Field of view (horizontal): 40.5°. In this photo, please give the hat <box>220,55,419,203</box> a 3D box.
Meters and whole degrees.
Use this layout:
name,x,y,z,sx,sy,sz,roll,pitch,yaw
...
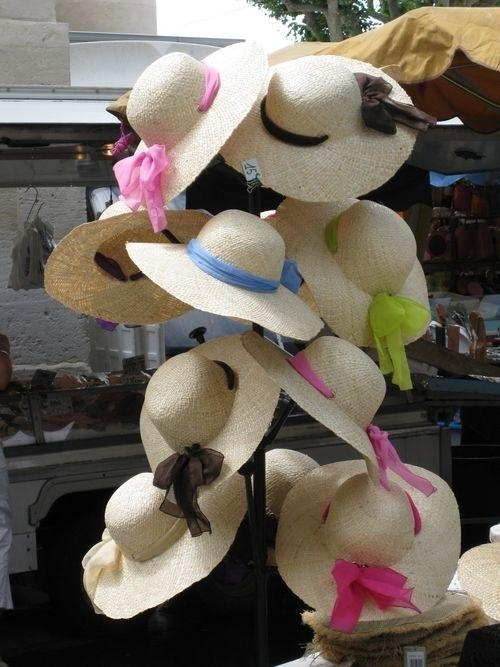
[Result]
name,x,y,z,sx,sy,sz,roll,pitch,yaw
hat,0.173,-0.461,1.622,0.471,0.371,0.137,-7,-19,-3

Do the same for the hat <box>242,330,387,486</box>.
name,x,y,z,sx,sy,sz,roll,pitch,yaw
hat,0.143,0.203,1.631,0.360,0.151,0.343,37,14,-24

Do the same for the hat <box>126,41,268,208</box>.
name,x,y,z,sx,sy,sz,roll,pitch,yaw
hat,-0.123,-0.520,1.632,0.274,0.396,0.318,-5,12,-26

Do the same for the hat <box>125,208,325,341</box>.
name,x,y,z,sx,sy,sz,roll,pitch,yaw
hat,-0.052,-0.142,1.572,0.462,0.288,0.323,-1,10,-9

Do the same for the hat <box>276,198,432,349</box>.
name,x,y,z,sx,sy,sz,roll,pitch,yaw
hat,0.182,-0.184,1.823,0.400,0.418,0.164,-10,-27,-40

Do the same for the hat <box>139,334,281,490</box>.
name,x,y,z,sx,sy,sz,roll,pitch,yaw
hat,-0.014,0.191,1.688,0.395,0.336,0.139,6,-18,39

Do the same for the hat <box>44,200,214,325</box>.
name,x,y,z,sx,sy,sz,roll,pitch,yaw
hat,-0.400,-0.180,1.955,0.372,0.131,0.441,6,-32,-22
